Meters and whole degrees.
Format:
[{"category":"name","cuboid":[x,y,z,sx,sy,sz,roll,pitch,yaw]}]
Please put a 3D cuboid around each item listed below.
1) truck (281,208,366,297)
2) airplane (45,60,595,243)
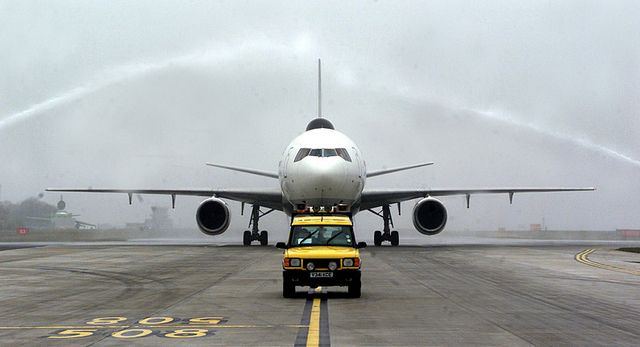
[{"category":"truck","cuboid":[0.097,2.907,23.336,3.043,2.752,5.674,0,2,2]},{"category":"airplane","cuboid":[0.682,-0.651,40.771,14.956,11.204,14.278,3,-6,-37]}]
